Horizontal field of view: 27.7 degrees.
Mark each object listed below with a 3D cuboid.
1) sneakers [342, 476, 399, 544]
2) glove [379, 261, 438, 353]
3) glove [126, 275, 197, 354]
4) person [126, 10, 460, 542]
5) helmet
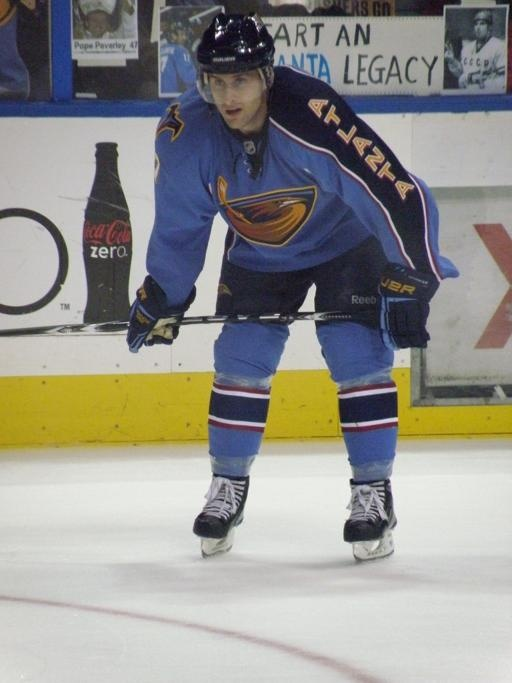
[{"bbox_3d":[0.259,0.396,2.421,0.096,0.117,0.176,-1,6,12],"label":"sneakers"},{"bbox_3d":[0.353,-0.082,2.416,0.134,0.207,0.158,-1,5,6],"label":"glove"},{"bbox_3d":[-0.246,-0.086,2.688,0.173,0.203,0.089,26,9,-6],"label":"glove"},{"bbox_3d":[0.044,-0.140,2.500,0.451,1.261,0.741,-7,7,-42],"label":"person"},{"bbox_3d":[-0.050,-0.653,2.349,0.172,0.207,0.157,-2,5,-3],"label":"helmet"}]
